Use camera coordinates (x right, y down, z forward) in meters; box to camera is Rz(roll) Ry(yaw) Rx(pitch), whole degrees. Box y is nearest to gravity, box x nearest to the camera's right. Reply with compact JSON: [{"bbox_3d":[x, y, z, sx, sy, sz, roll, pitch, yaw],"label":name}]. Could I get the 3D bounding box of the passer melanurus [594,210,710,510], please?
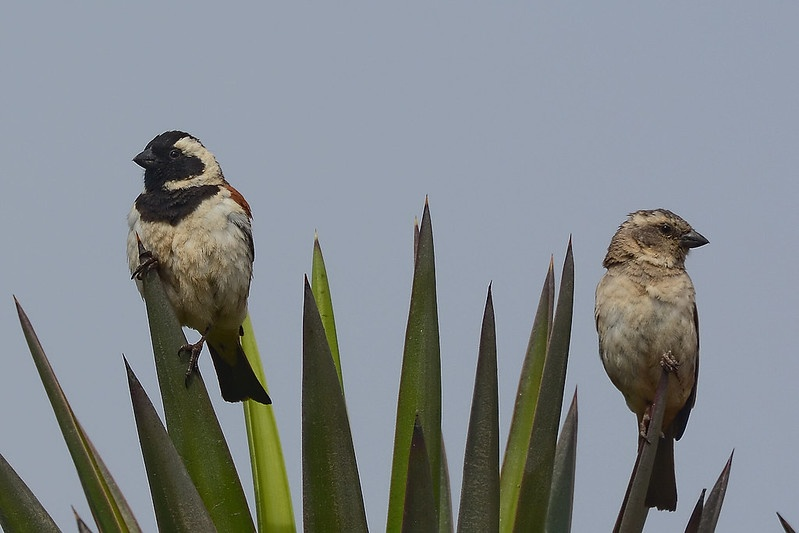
[{"bbox_3d":[1.219,0.443,5.277,0.507,1.457,0.620,3,2,27],"label":"passer melanurus"}]
